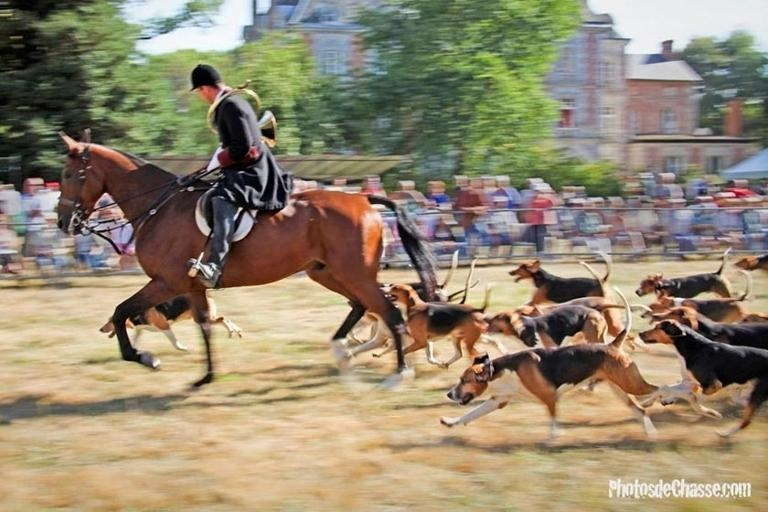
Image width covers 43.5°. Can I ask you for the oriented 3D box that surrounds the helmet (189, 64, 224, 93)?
[{"bbox_3d":[-2.426,-2.404,12.903,0.507,0.230,0.331,8,39,35],"label":"helmet"}]

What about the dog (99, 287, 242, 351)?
[{"bbox_3d":[-3.120,0.928,14.137,1.784,0.656,0.410,-12,1,-28],"label":"dog"}]
